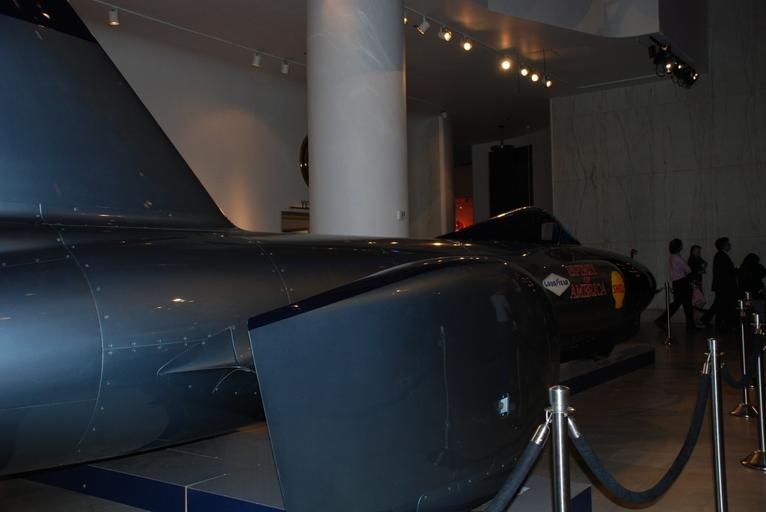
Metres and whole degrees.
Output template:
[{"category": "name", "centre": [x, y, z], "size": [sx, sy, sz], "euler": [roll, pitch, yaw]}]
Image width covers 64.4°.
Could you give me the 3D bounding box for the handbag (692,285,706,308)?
[{"category": "handbag", "centre": [4.253, 0.541, 8.291], "size": [0.094, 0.275, 0.215], "euler": [-16, -22, 27]}]
